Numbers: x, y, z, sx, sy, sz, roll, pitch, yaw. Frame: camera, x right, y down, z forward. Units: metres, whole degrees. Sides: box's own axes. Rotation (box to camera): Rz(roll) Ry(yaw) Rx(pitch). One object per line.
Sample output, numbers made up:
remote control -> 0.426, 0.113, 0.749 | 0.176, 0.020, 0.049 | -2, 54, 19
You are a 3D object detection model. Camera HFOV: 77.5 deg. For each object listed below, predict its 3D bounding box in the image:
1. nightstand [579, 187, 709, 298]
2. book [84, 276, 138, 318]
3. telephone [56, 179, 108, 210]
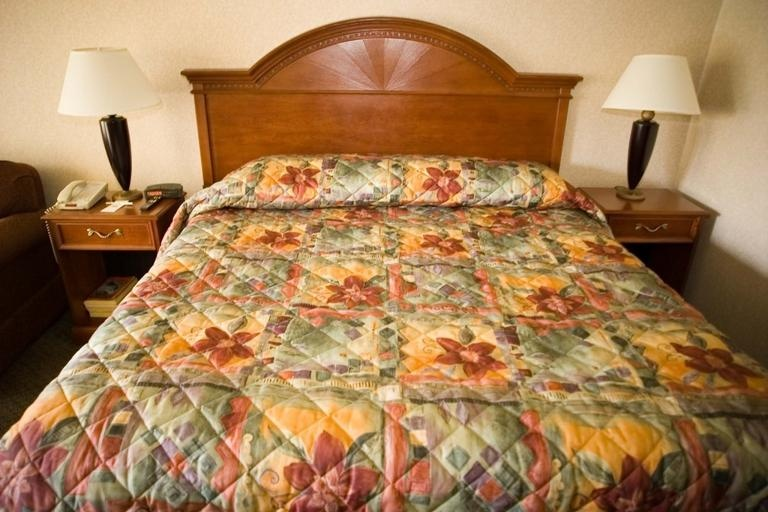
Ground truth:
nightstand -> 1.649, -0.046, 3.117 | 0.666, 0.624, 0.478 | -3, 24, 3
book -> -1.656, 0.249, 2.881 | 0.282, 0.089, 0.261 | 2, 26, 7
telephone -> -1.738, -0.376, 2.777 | 0.215, 0.085, 0.236 | -2, 25, 3
